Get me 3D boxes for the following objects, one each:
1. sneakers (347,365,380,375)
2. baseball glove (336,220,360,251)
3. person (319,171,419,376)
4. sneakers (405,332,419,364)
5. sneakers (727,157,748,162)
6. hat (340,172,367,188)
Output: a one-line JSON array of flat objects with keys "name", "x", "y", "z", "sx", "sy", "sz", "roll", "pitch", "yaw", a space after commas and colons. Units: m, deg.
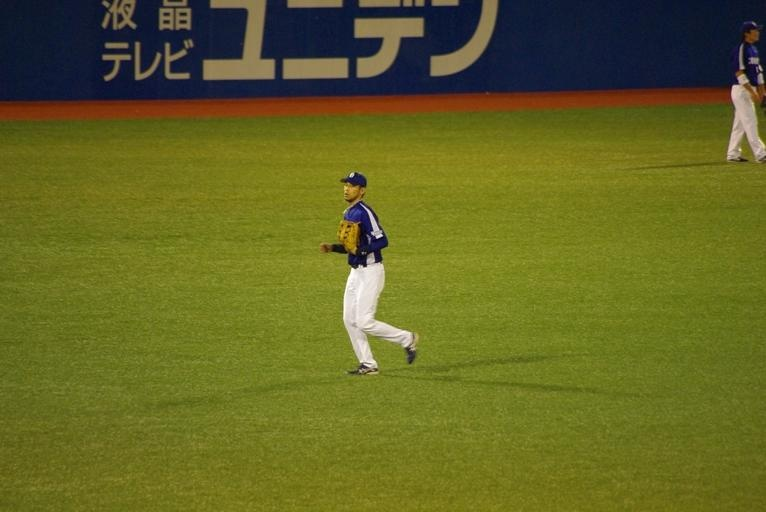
[{"name": "sneakers", "x": -0.281, "y": 1.625, "z": 19.927, "sx": 0.461, "sy": 0.182, "sz": 0.153, "roll": 2, "pitch": 1, "yaw": -2}, {"name": "baseball glove", "x": -0.475, "y": -0.289, "z": 19.537, "sx": 0.329, "sy": 0.391, "sz": 0.124, "roll": 5, "pitch": 9, "yaw": 22}, {"name": "person", "x": -0.278, "y": 0.242, "z": 19.769, "sx": 1.338, "sy": 1.897, "sz": 0.624, "roll": 3, "pitch": -2, "yaw": -29}, {"name": "sneakers", "x": 0.416, "y": 1.305, "z": 20.052, "sx": 0.212, "sy": 0.445, "sz": 0.157, "roll": -6, "pitch": 25, "yaw": -10}, {"name": "sneakers", "x": 6.661, "y": -1.842, "z": 26.366, "sx": 0.387, "sy": 0.135, "sz": 0.121, "roll": 0, "pitch": 9, "yaw": 0}, {"name": "hat", "x": -0.378, "y": -1.085, "z": 19.781, "sx": 0.390, "sy": 0.183, "sz": 0.263, "roll": 4, "pitch": 5, "yaw": -15}]
